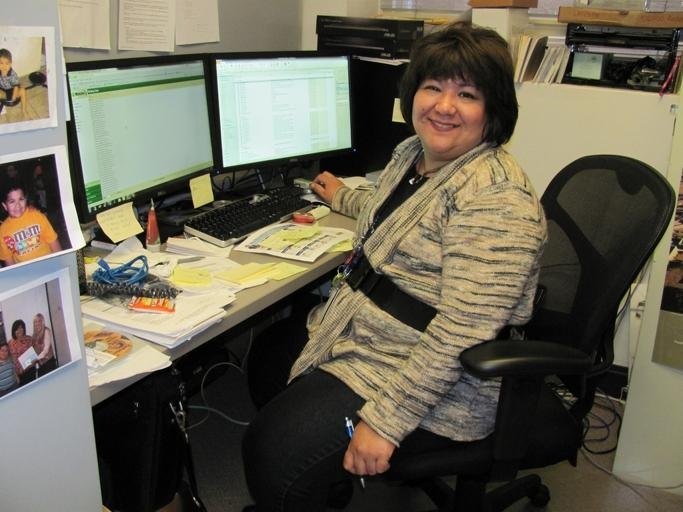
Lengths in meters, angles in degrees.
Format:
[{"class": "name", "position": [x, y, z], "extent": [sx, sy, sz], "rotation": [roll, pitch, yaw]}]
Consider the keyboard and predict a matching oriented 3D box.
[{"class": "keyboard", "position": [-0.329, -0.215, 1.742], "extent": [0.372, 0.169, 0.446], "rotation": [23, 29, 39]}]

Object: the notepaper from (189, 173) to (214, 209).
[{"class": "notepaper", "position": [-0.485, -0.222, 1.754], "extent": [0.005, 0.098, 0.092], "rotation": [16, 47, 34]}]

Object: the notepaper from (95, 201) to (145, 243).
[{"class": "notepaper", "position": [-0.643, -0.087, 1.486], "extent": [0.029, 0.120, 0.121], "rotation": [-8, 21, 45]}]

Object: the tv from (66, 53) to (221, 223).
[{"class": "tv", "position": [-0.594, -0.361, 1.504], "extent": [0.064, 0.399, 0.532], "rotation": [14, 23, 23]}]

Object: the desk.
[{"class": "desk", "position": [-0.284, 0.175, 1.399], "extent": [0.663, 0.397, 0.951], "rotation": [9, 16, 19]}]
